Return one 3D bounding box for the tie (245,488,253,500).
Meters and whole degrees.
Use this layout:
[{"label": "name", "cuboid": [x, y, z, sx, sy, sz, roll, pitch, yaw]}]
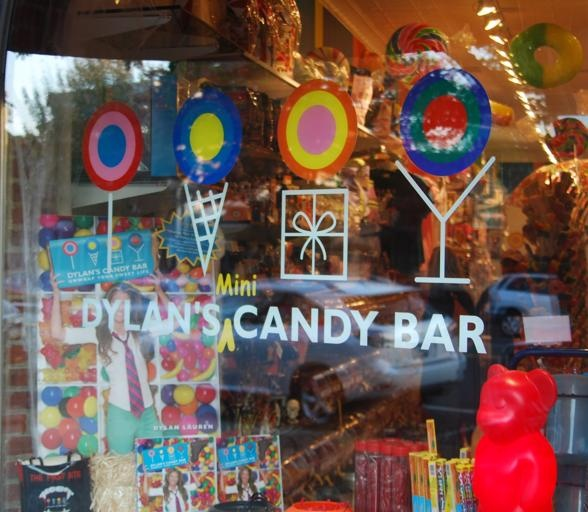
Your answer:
[{"label": "tie", "cuboid": [-0.195, 1.039, 3.218, 0.024, 0.040, 0.009, -2, -13, 11]}]
